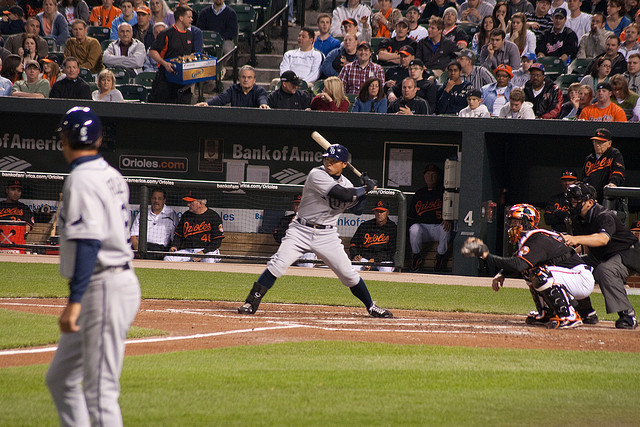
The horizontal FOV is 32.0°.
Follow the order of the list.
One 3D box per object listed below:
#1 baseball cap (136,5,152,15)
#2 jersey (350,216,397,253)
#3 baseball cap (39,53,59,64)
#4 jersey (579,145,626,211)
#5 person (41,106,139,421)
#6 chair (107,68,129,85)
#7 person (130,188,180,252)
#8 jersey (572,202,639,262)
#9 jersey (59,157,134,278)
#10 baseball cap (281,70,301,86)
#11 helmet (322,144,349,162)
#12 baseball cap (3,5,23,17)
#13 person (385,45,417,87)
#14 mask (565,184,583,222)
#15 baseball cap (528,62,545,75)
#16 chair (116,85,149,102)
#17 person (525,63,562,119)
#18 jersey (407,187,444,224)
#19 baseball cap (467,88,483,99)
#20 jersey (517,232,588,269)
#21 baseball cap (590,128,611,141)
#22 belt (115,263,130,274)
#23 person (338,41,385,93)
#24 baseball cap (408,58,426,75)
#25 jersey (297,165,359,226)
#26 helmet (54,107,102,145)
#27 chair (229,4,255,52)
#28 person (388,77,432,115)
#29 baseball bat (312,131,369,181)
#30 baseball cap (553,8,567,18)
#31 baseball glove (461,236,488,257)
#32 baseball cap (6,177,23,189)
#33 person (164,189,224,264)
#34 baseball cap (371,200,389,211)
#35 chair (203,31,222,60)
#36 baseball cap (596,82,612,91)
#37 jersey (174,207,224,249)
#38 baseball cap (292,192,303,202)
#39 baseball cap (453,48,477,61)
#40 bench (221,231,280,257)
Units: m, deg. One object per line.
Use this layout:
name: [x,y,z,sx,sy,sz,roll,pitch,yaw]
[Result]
baseball cap: [-3.378,-3.980,21.476,0.215,0.151,0.294,1,0,7]
jersey: [0.966,0.367,20.177,0.678,0.653,0.425,-4,-1,16]
baseball cap: [-5.153,-2.984,21.264,0.415,0.186,0.257,2,-4,-44]
jersey: [4.686,-0.665,18.669,0.556,1.244,0.526,0,2,4]
person: [-2.452,0.577,12.106,0.931,3.372,0.746,4,12,12]
chair: [-3.876,-2.642,21.428,0.338,0.407,0.356,0,37,-6]
person: [-2.967,0.116,20.274,1.001,1.270,0.654,6,12,-5]
jersey: [4.032,0.273,15.928,0.907,0.826,0.471,4,11,12]
jersey: [-2.438,0.046,12.111,0.770,1.281,0.417,-2,12,-14]
baseball cap: [-0.544,-2.452,20.011,0.338,0.264,0.279,1,11,-3]
helmet: [0.231,-0.865,15.842,0.302,0.152,0.219,13,1,-25]
baseball cap: [-6.390,-4.256,23.261,0.390,0.216,0.361,-2,11,-16]
person: [1.530,-2.730,20.675,0.463,0.343,1.038,-2,42,7]
mask: [3.659,-0.179,16.038,0.216,0.451,0.321,-12,10,-29]
baseball cap: [3.822,-2.644,19.838,0.210,0.164,0.307,-3,-12,33]
chair: [-3.561,-2.329,21.161,0.407,0.501,0.418,0,3,0]
person: [3.835,-2.094,19.930,0.829,1.170,0.924,2,7,9]
jersey: [1.929,-0.138,20.482,0.642,0.598,0.193,3,0,14]
baseball cap: [2.712,-2.168,19.863,0.207,0.157,0.147,-17,23,-30]
jersey: [3.302,0.547,15.721,1.141,0.459,0.880,17,-1,15]
baseball cap: [4.501,-1.292,18.051,0.287,0.150,0.183,6,4,-19]
belt: [-2.151,0.593,12.130,0.114,0.026,0.084,-16,24,-29]
person: [0.771,-2.681,20.556,1.217,1.011,0.719,2,-2,0]
baseball cap: [1.711,-2.709,20.225,0.317,0.246,0.229,-8,15,-37]
jersey: [0.008,-0.231,15.820,0.656,0.811,0.286,1,11,-3]
helmet: [-2.657,-0.942,12.431,0.485,0.530,0.669,-7,2,-16]
chair: [-1.578,-4.055,23.188,0.659,0.837,0.736,1,6,4]
person: [1.559,-2.071,20.057,0.904,0.770,0.504,6,11,25]
baseball bat: [0.352,-1.027,18.834,0.155,1.439,0.150,-39,10,40]
baseball cap: [4.530,-3.889,21.329,0.222,0.157,0.307,5,-6,17]
baseball glove: [2.055,0.460,15.232,0.311,0.287,0.326,-1,11,-9]
baseball cap: [-5.708,-0.595,20.827,0.254,0.220,0.224,6,12,23]
person: [-2.238,0.239,20.153,0.968,1.416,0.906,1,11,4]
baseball cap: [1.076,-0.160,20.161,0.235,0.129,0.163,7,-6,-40]
chair: [-2.088,-3.361,21.789,0.452,0.578,0.484,0,1,-5]
baseball cap: [4.837,-2.206,19.108,0.278,0.144,0.239,0,11,-8]
jersey: [-2.205,0.264,20.148,0.857,0.735,0.151,1,11,1]
baseball cap: [-0.446,-0.305,20.196,0.151,0.141,0.232,-1,3,-41]
baseball cap: [2.623,-2.935,20.273,0.312,0.108,0.195,13,6,-3]
bench: [-1.328,0.567,20.854,1.339,0.431,0.539,-2,-13,12]
